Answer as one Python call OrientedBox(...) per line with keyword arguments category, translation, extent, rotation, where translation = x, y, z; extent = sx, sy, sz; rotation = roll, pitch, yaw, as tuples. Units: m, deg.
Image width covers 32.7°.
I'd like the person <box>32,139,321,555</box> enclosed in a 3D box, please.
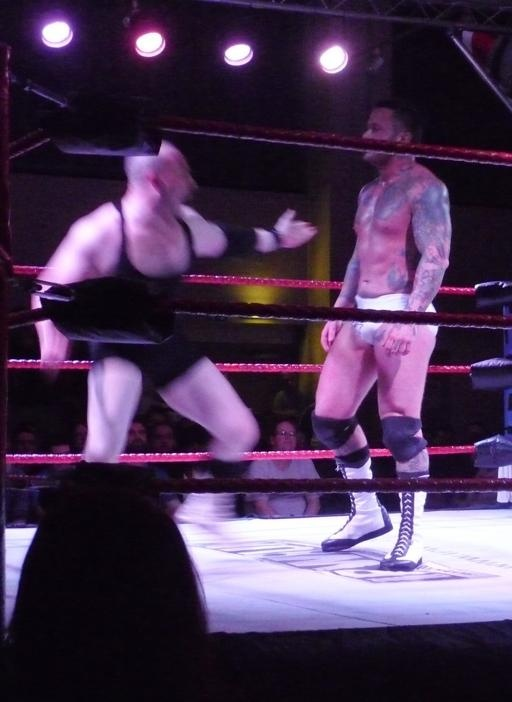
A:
OrientedBox(category="person", translation=(-0.214, -0.011, 2.272), extent=(0.360, 1.051, 0.768), rotation=(6, 9, 36))
